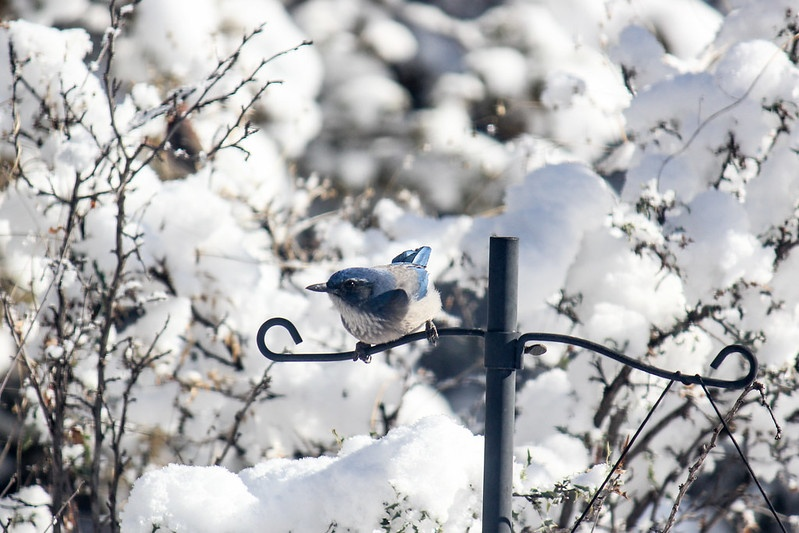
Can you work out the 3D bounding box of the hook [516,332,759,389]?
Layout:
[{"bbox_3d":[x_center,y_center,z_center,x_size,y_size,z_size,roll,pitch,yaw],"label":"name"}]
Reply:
[{"bbox_3d":[1.398,0.514,9.740,1.446,0.128,0.396,8,32,1],"label":"hook"}]

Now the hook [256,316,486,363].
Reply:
[{"bbox_3d":[-0.194,0.409,9.913,1.391,0.419,0.105,-1,48,-12],"label":"hook"}]

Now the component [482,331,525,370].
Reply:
[{"bbox_3d":[0.592,0.477,9.633,0.187,0.230,0.189,1,2,-9],"label":"component"}]
